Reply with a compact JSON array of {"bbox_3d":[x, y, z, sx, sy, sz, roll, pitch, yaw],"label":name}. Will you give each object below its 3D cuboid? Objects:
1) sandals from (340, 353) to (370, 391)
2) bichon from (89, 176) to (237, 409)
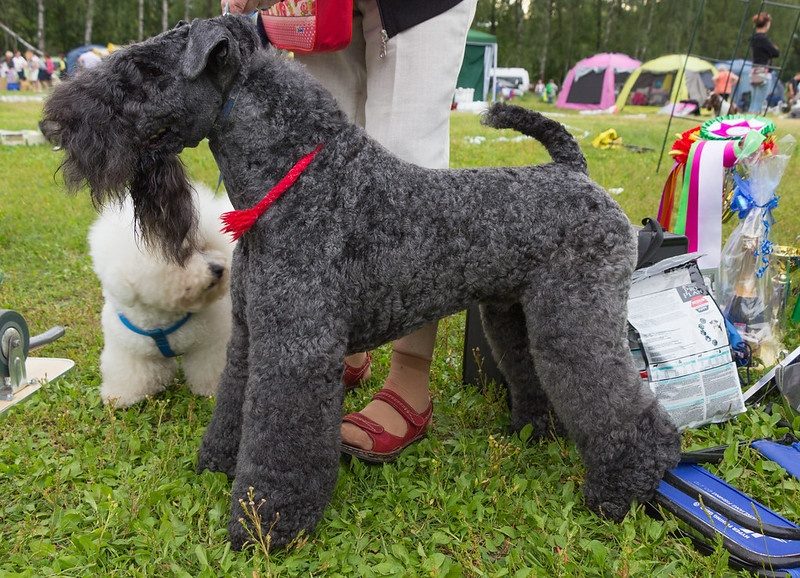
[{"bbox_3d":[-0.241,0.445,4.354,0.078,0.106,0.238,20,32,22],"label":"sandals"},{"bbox_3d":[-1.247,0.049,4.361,0.879,1.330,0.725,-8,23,-31],"label":"bichon"}]
